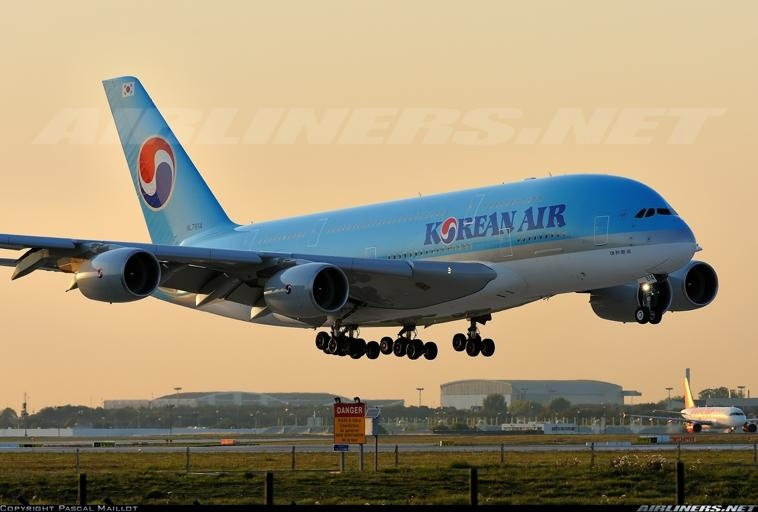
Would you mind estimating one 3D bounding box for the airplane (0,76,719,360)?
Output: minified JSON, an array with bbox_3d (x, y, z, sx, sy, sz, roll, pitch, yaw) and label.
[{"bbox_3d":[-0.685,-0.083,49.589,20.833,5.829,20.675,-3,-2,38],"label":"airplane"}]
